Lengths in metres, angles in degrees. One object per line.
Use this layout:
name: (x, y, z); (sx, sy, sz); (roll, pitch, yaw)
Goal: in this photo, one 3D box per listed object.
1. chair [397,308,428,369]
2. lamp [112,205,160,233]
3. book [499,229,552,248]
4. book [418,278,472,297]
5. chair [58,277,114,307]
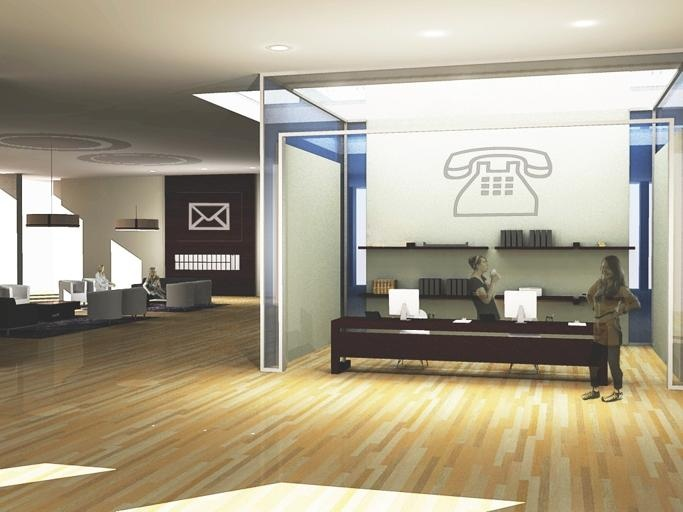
chair: (1.047, 1.164, 7.981); (0.454, 1.024, 0.947); (0, 1, 6)
lamp: (-7.046, -1.303, 19.022); (1.075, 0.603, 1.022); (0, -1, -22)
book: (3.129, -0.298, 9.290); (0.847, 0.307, 0.261); (0, 1, 13)
book: (1.747, 0.544, 9.389); (0.851, 0.324, 0.214); (0, 1, 10)
chair: (-6.854, 0.988, 14.689); (1.053, 0.599, 0.924); (1, -3, -20)
